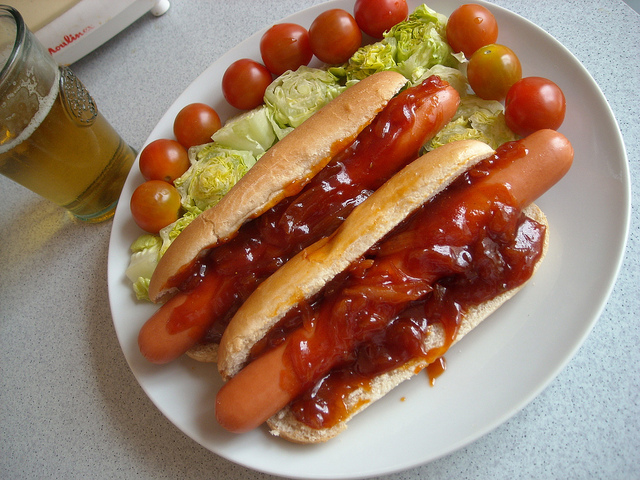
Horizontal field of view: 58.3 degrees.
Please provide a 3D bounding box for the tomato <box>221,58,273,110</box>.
[{"bbox_3d":[-0.408,-0.823,3.101,0.248,0.254,0.308,6,80,-34],"label":"tomato"}]

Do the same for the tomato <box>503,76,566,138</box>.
[{"bbox_3d":[0.993,-0.665,2.786,0.267,0.272,0.277,-15,107,-4],"label":"tomato"}]

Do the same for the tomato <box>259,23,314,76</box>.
[{"bbox_3d":[-0.182,-1.036,3.121,0.319,0.325,0.307,1,87,8],"label":"tomato"}]

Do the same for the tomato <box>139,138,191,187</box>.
[{"bbox_3d":[-0.788,-0.381,3.019,0.207,0.235,0.278,-6,77,4],"label":"tomato"}]
